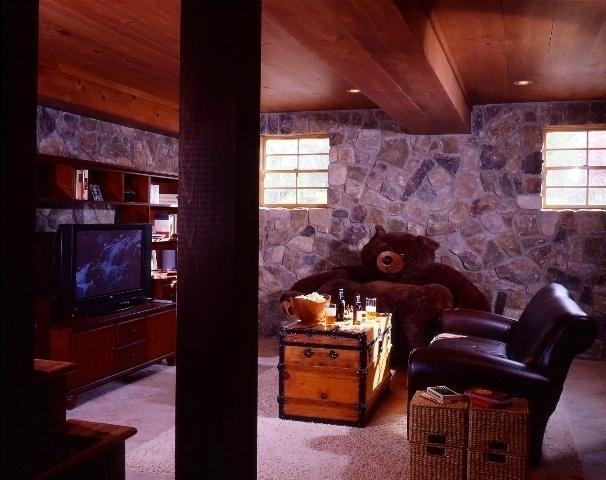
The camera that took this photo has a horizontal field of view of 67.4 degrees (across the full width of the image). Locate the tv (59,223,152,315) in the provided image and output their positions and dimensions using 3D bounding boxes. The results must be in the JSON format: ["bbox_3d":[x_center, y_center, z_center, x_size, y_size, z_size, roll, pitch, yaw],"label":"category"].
[{"bbox_3d":[-1.823,0.262,4.130,0.287,0.713,0.897,0,0,21],"label":"tv"}]

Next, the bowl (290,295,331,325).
[{"bbox_3d":[0.068,0.534,3.666,0.236,0.167,0.247,1,2,0],"label":"bowl"}]

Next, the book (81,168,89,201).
[{"bbox_3d":[-1.972,-0.507,4.103,0.044,0.275,0.130,-2,5,-23],"label":"book"}]

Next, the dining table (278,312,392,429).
[{"bbox_3d":[0.272,0.984,3.506,0.951,0.687,0.633,-1,5,-12],"label":"dining table"}]

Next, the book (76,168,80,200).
[{"bbox_3d":[-1.995,-0.494,4.017,0.024,0.245,0.062,1,5,12],"label":"book"}]

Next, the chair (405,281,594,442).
[{"bbox_3d":[1.243,0.956,3.144,1.107,0.850,1.141,3,5,20],"label":"chair"}]
